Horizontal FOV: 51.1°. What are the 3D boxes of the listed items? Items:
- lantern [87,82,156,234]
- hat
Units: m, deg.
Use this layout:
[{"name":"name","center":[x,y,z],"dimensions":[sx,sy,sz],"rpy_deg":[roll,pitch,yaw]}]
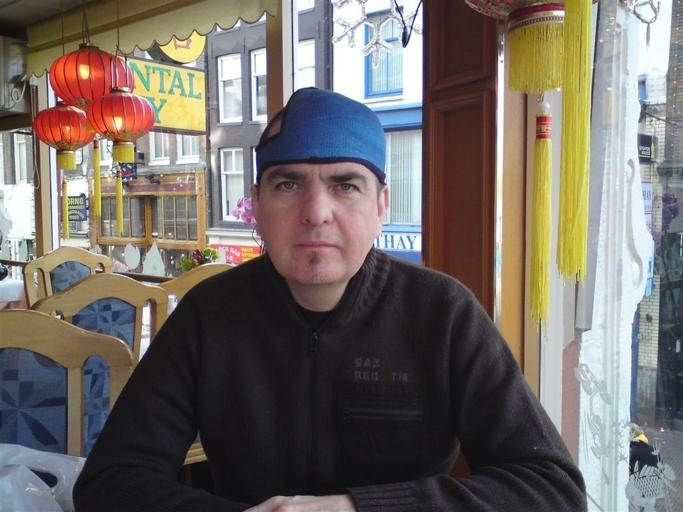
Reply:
[{"name":"lantern","center":[-1.137,-0.687,3.751],"dimensions":[0.319,0.378,0.336],"rpy_deg":[-1,6,-15]},{"name":"hat","center":[-0.032,-0.368,2.042],"dimensions":[0.360,0.259,0.333],"rpy_deg":[5,-1,-38]}]
